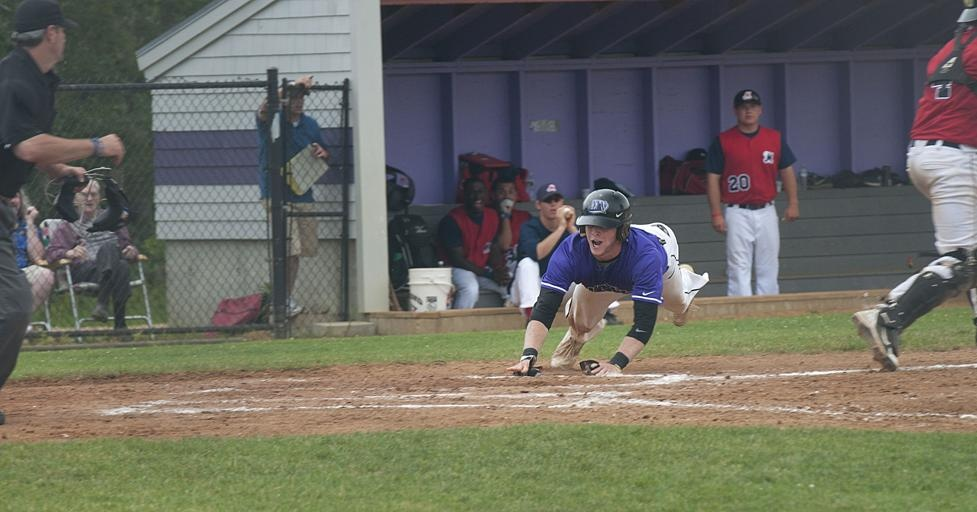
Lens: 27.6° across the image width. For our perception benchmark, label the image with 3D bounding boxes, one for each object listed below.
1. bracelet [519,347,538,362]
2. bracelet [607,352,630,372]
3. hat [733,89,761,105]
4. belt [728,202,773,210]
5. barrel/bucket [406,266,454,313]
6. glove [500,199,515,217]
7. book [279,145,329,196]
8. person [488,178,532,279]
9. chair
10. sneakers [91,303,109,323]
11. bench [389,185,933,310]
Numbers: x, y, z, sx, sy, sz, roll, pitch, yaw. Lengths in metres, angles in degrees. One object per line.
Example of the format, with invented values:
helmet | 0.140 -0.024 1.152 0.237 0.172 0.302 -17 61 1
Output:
bracelet | 0.518 1.295 25.812 0.214 0.128 0.162 0 0 -23
bracelet | 1.682 1.380 25.765 0.278 0.201 0.219 28 20 -50
hat | 3.787 -2.326 29.422 0.318 0.177 0.372 -2 -22 -3
belt | 3.833 -0.737 29.241 0.662 0.081 0.108 1 0 -1
barrel/bucket | -0.985 0.548 29.211 0.928 0.669 0.796 -3 0 -4
glove | 0.274 -0.722 29.748 0.219 0.237 0.088 15 -20 -24
book | -2.693 -1.255 29.001 0.819 0.573 0.280 -38 19 -5
person | 0.288 -0.387 29.764 0.489 1.283 0.897 -5 -6 29
chair | -5.712 0.312 29.802 1.949 1.851 1.980 4 -3 -41
sneakers | -5.667 0.864 28.962 0.185 0.268 0.302 -4 -27 13
bench | 3.206 0.100 29.930 9.242 1.612 1.519 -7 12 -43
